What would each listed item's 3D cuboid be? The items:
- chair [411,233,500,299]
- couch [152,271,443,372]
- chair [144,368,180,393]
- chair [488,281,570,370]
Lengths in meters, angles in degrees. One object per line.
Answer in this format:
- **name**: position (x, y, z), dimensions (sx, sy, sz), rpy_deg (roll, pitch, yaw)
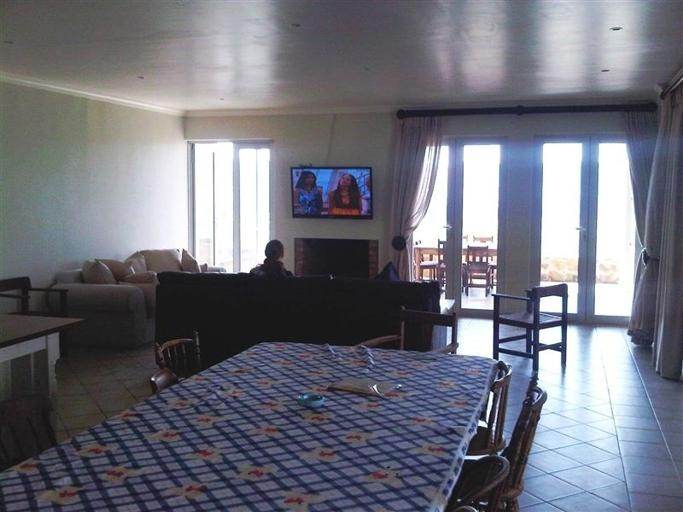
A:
- **chair**: position (1.828, 0.141, 8.662), dimensions (1.140, 0.774, 1.066), rpy_deg (2, 7, 16)
- **couch**: position (-0.060, 0.478, 5.189), dimensions (2.345, 0.969, 0.928), rpy_deg (1, 15, 4)
- **chair**: position (-0.977, 0.650, 2.984), dimensions (0.139, 0.163, 0.133), rpy_deg (3, 4, 33)
- **chair**: position (2.041, 0.742, 6.026), dimensions (0.666, 0.850, 0.590), rpy_deg (-2, 3, -37)
